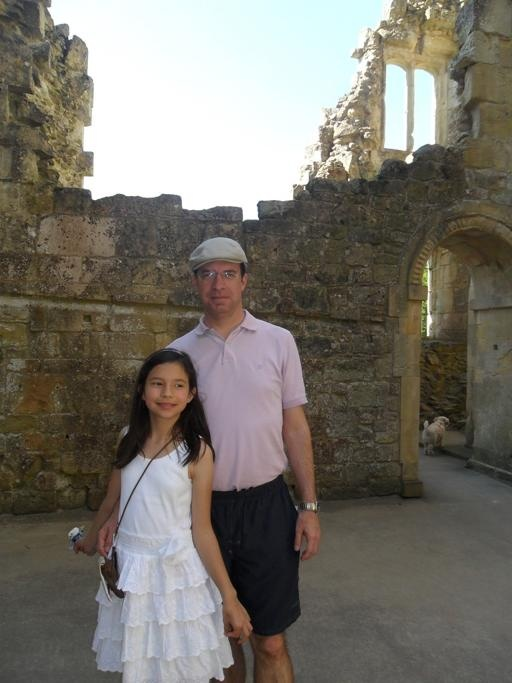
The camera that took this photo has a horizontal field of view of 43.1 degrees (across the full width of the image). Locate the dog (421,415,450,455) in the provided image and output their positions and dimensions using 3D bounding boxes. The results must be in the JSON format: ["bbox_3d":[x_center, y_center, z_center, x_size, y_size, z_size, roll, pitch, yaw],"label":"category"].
[{"bbox_3d":[2.280,1.147,8.214,0.240,0.423,0.806,6,17,26],"label":"dog"}]

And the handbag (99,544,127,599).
[{"bbox_3d":[-0.511,0.807,2.254,0.057,0.081,0.138,3,36,-24],"label":"handbag"}]
